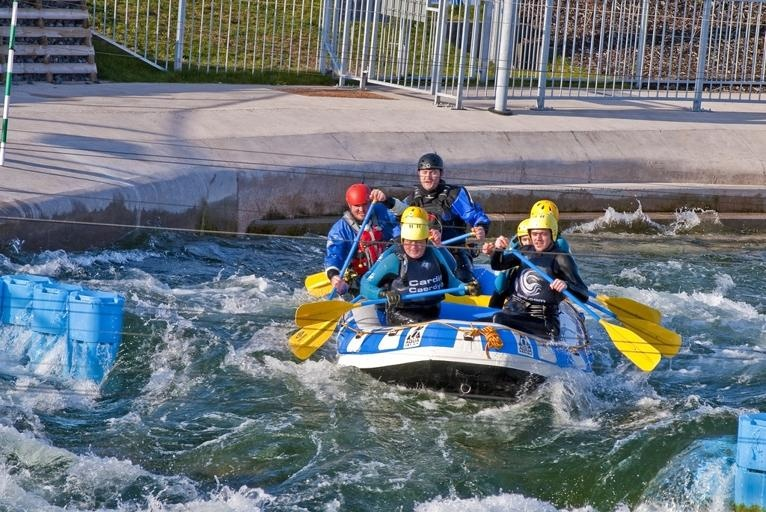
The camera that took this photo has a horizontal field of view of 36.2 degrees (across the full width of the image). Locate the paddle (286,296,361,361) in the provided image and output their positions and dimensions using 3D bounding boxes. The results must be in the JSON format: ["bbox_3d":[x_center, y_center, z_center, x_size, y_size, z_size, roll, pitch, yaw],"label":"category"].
[{"bbox_3d":[-0.947,0.989,16.189,1.359,0.484,0.219,-33,-1,-33],"label":"paddle"}]

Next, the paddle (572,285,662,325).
[{"bbox_3d":[3.183,0.696,16.500,1.483,0.363,0.159,15,-6,3],"label":"paddle"}]

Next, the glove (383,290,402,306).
[{"bbox_3d":[0.121,0.584,16.038,0.207,0.187,0.086,4,-10,-1],"label":"glove"}]

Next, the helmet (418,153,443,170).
[{"bbox_3d":[0.728,-1.472,18.243,0.275,0.265,0.351,2,8,11],"label":"helmet"}]

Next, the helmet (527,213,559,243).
[{"bbox_3d":[2.187,-0.384,16.110,0.332,0.396,0.364,1,9,18],"label":"helmet"}]

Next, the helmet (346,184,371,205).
[{"bbox_3d":[-0.400,-0.931,17.814,0.317,0.355,0.300,3,11,1],"label":"helmet"}]

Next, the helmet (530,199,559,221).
[{"bbox_3d":[2.297,-0.649,16.895,0.351,0.460,0.344,5,41,17],"label":"helmet"}]
